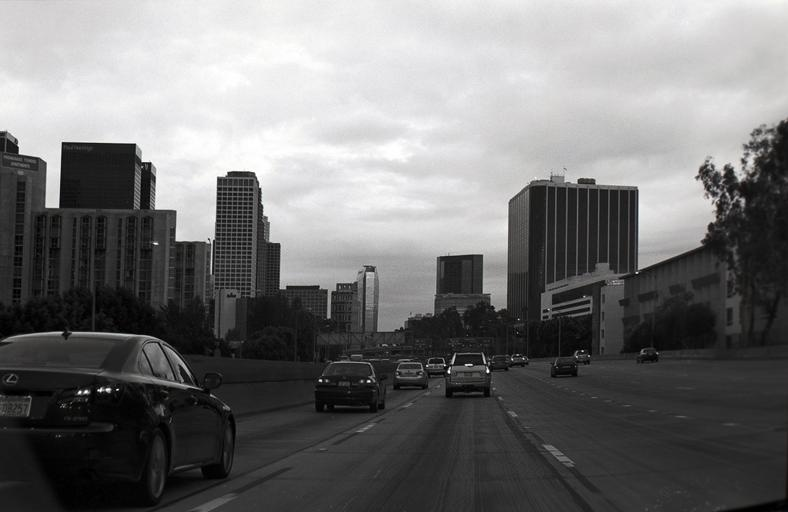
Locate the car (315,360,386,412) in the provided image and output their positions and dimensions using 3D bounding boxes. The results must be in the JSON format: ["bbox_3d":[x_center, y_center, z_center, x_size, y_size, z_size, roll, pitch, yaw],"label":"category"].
[{"bbox_3d":[-1.657,4.748,30.138,2.162,1.907,2.435,-3,-8,8],"label":"car"}]

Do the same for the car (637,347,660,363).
[{"bbox_3d":[25.510,9.906,82.038,1.200,1.057,2.960,-1,-4,9],"label":"car"}]
